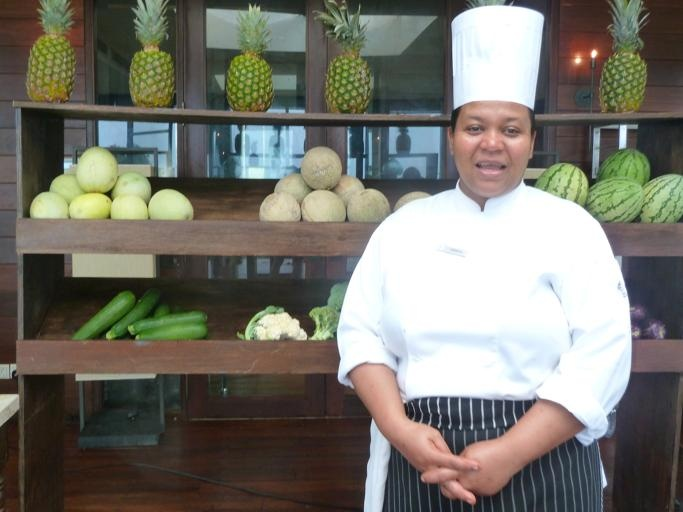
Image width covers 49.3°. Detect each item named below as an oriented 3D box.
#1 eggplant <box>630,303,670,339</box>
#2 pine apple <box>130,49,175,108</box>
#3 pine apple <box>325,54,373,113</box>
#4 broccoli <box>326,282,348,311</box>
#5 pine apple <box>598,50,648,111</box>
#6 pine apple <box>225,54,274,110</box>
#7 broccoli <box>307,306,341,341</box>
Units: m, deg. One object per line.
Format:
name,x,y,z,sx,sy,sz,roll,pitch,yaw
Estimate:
eggplant,1.495,0.319,3.589,0.122,0.089,0.198,-1,-5,-5
pine apple,-0.837,-0.796,3.454,0.235,0.348,0.241,1,1,0
pine apple,0.019,-0.777,3.449,0.173,0.275,0.222,2,7,-13
broccoli,-0.019,0.203,3.693,0.093,0.128,0.068,13,-10,2
pine apple,1.295,-0.792,3.407,0.234,0.403,0.251,2,1,16
pine apple,-0.436,-0.801,3.499,0.161,0.281,0.187,-4,13,-32
broccoli,-0.092,0.288,3.555,0.104,0.139,0.215,-6,-13,-6
